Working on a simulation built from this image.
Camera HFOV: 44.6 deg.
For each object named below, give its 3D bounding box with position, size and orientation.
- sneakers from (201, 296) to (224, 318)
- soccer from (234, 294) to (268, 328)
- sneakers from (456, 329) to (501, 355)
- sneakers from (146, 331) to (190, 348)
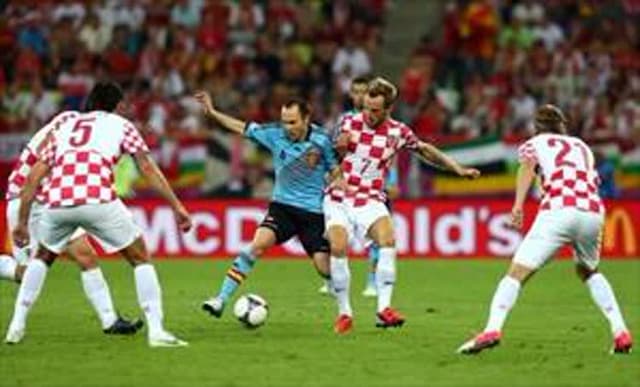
[{"bbox_3d":[-1.648,1.740,12.081,0.286,0.292,0.269,1,5,1],"label":"sneakers"},{"bbox_3d":[-1.084,1.836,12.250,0.490,0.488,0.191,0,5,-7],"label":"soccer"},{"bbox_3d":[2.244,2.082,11.182,0.630,0.257,0.268,-23,-11,15],"label":"sneakers"},{"bbox_3d":[-2.223,2.097,11.352,0.633,0.263,0.213,1,-5,-5],"label":"sneakers"}]
